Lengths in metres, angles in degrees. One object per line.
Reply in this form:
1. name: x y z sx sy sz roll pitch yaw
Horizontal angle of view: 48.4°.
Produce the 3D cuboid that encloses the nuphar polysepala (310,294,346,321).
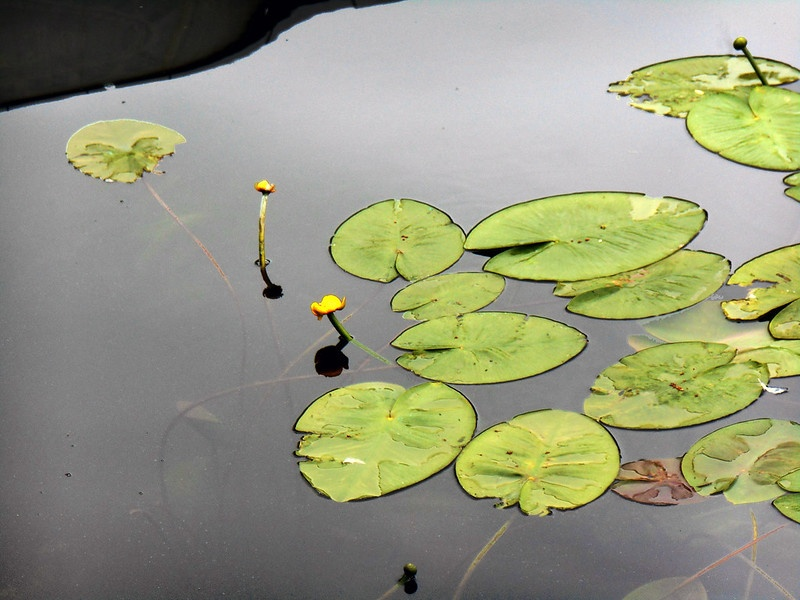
1. nuphar polysepala: -0.202 0.025 2.540 0.086 0.094 0.096 0 21 0
